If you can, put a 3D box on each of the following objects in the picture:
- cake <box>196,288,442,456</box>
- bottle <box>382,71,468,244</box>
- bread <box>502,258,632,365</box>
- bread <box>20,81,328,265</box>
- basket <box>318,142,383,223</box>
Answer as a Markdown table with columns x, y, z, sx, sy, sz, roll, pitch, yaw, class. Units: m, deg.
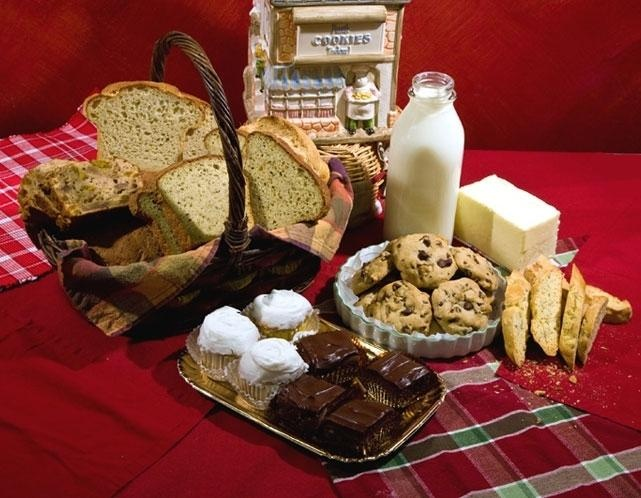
| x | y | z | sx | sy | sz | roll | pitch | yaw | class |
| --- | --- | --- | --- | --- | --- | --- | --- | --- | --- |
| -0.027 | 0.237 | 0.985 | 0.378 | 0.130 | 0.247 | 21 | 35 | 31 | cake |
| 0.249 | -0.209 | 1.302 | 0.179 | 0.405 | 0.131 | 2 | 35 | 12 | bottle |
| 0.479 | 0.126 | 1.052 | 0.232 | 0.074 | 0.249 | -2 | 71 | -6 | bread |
| -0.323 | -0.167 | 1.276 | 0.599 | 0.208 | 0.487 | -7 | 77 | -19 | bread |
| 0.078 | -0.197 | 1.484 | 0.172 | 0.157 | 0.214 | -4 | 24 | -6 | basket |
